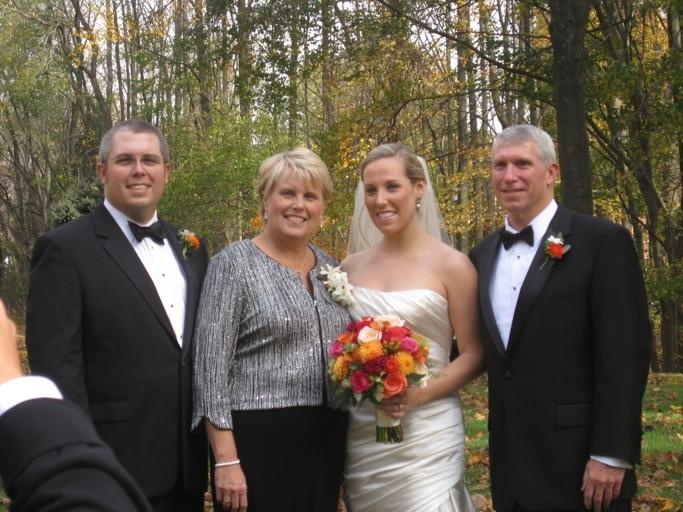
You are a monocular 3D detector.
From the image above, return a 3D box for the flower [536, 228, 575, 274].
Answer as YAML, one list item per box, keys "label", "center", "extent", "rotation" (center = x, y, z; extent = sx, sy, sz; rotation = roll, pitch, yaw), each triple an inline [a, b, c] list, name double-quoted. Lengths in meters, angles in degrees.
- label: "flower"
  center: [1.511, -0.049, 4.991]
  extent: [0.263, 0.129, 0.168]
  rotation: [36, 22, 10]

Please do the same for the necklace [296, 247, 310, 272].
- label: "necklace"
  center: [-0.294, 0.024, 5.412]
  extent: [0.038, 0.180, 0.085]
  rotation: [16, -20, -20]

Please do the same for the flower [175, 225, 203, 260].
- label: "flower"
  center: [-1.226, -0.100, 5.563]
  extent: [0.112, 0.213, 0.203]
  rotation: [-4, -18, -21]

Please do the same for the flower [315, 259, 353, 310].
- label: "flower"
  center: [-0.048, 0.225, 5.352]
  extent: [0.276, 0.180, 0.343]
  rotation: [-15, 19, 3]

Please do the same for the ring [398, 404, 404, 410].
- label: "ring"
  center: [0.439, 1.102, 5.080]
  extent: [0.033, 0.034, 0.008]
  rotation: [-14, 13, -37]

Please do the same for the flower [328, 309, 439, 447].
- label: "flower"
  center: [0.206, 1.002, 5.182]
  extent: [0.725, 0.859, 0.820]
  rotation: [-13, 7, -38]
